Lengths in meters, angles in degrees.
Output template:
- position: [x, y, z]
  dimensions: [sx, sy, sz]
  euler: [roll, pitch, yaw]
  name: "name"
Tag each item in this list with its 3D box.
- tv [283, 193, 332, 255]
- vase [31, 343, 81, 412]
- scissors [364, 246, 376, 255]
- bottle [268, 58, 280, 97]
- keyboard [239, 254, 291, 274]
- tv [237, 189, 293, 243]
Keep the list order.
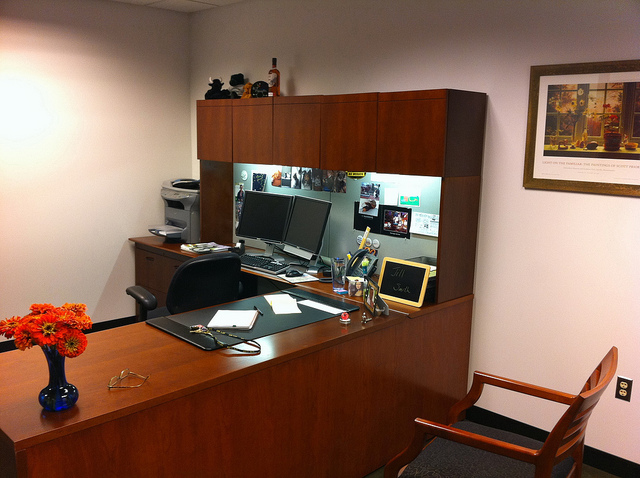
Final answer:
- position: [-0.101, -0.120, 3.772]
  dimensions: [0.044, 0.456, 0.445]
  euler: [20, -7, -43]
  name: "tv"
- position: [-1.019, 0.506, 1.782]
  dimensions: [0.150, 0.291, 0.160]
  euler: [-1, 13, -20]
  name: "vase"
- position: [0.369, 0.079, 3.385]
  dimensions: [0.065, 0.024, 0.047]
  euler: [34, 12, 12]
  name: "scissors"
- position: [-0.395, -1.385, 3.955]
  dimensions: [0.091, 0.299, 0.096]
  euler: [3, 12, -1]
  name: "bottle"
- position: [-0.447, 0.193, 3.749]
  dimensions: [0.533, 0.046, 0.310]
  euler: [12, 15, 33]
  name: "keyboard"
- position: [-0.480, -0.190, 4.048]
  dimensions: [0.522, 0.425, 0.054]
  euler: [10, -4, 31]
  name: "tv"
